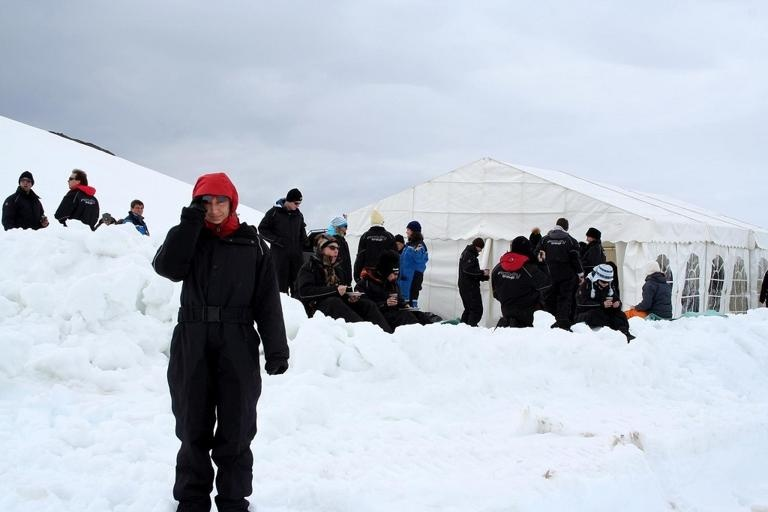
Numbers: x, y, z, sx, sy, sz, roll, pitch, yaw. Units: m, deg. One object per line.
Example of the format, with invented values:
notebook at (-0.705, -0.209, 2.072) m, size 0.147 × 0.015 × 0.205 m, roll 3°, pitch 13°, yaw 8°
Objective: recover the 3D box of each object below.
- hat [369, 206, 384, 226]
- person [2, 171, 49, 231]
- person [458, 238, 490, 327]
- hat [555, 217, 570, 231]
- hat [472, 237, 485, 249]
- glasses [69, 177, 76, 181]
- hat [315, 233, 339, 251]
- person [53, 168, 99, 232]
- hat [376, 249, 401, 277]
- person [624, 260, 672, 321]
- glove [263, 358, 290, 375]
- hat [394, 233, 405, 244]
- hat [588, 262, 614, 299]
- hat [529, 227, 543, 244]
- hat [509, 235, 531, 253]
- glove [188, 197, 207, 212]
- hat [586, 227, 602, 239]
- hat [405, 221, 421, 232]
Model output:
hat at (-0.133, -0.645, 14.460) m, size 0.265 × 0.301 × 0.390 m, roll 1°, pitch -7°, yaw -2°
person at (-5.866, -0.880, 13.927) m, size 0.687 × 0.938 × 0.593 m, roll 5°, pitch -2°, yaw -23°
person at (1.576, 0.472, 15.080) m, size 0.517 × 1.564 × 0.851 m, roll 4°, pitch -2°, yaw 6°
hat at (3.189, -0.544, 15.193) m, size 0.242 × 0.300 × 0.310 m, roll 5°, pitch 38°, yaw 12°
hat at (1.665, -0.220, 15.304) m, size 0.175 × 0.215 × 0.206 m, roll 9°, pitch -31°, yaw 21°
glasses at (-5.225, -1.268, 14.189) m, size 0.092 × 0.072 × 0.148 m, roll 5°, pitch -2°, yaw -1°
hat at (-0.804, -0.187, 11.879) m, size 0.268 × 0.211 × 0.200 m, roll -6°, pitch 0°, yaw 6°
person at (-5.109, -0.962, 14.214) m, size 0.671 × 0.932 × 1.306 m, roll 5°, pitch -2°, yaw -19°
hat at (0.021, 0.126, 12.738) m, size 0.278 × 0.389 × 0.384 m, roll 6°, pitch 7°, yaw -28°
person at (4.496, 0.731, 14.628) m, size 0.786 × 1.186 × 0.591 m, roll 4°, pitch 10°, yaw 36°
glove at (-1.051, 1.115, 8.282) m, size 0.190 × 0.167 × 0.166 m, roll -11°, pitch 8°, yaw -30°
hat at (0.278, -0.282, 15.792) m, size 0.127 × 0.149 × 0.167 m, roll 0°, pitch 12°, yaw -3°
hat at (3.107, 0.387, 12.242) m, size 0.385 × 0.518 × 0.296 m, roll 4°, pitch -2°, yaw 22°
hat at (2.790, -0.341, 15.935) m, size 0.239 × 0.344 × 0.339 m, roll 1°, pitch -9°, yaw 9°
hat at (2.050, -0.142, 12.745) m, size 0.279 × 0.286 × 0.354 m, roll 4°, pitch -2°, yaw 9°
glove at (-1.818, -0.483, 8.121) m, size 0.187 × 0.121 × 0.142 m, roll 4°, pitch -2°, yaw 25°
hat at (3.678, -0.373, 14.960) m, size 0.205 × 0.128 × 0.207 m, roll 20°, pitch 10°, yaw 2°
hat at (0.510, -0.464, 14.439) m, size 0.210 × 0.182 × 0.163 m, roll 26°, pitch 5°, yaw 32°
